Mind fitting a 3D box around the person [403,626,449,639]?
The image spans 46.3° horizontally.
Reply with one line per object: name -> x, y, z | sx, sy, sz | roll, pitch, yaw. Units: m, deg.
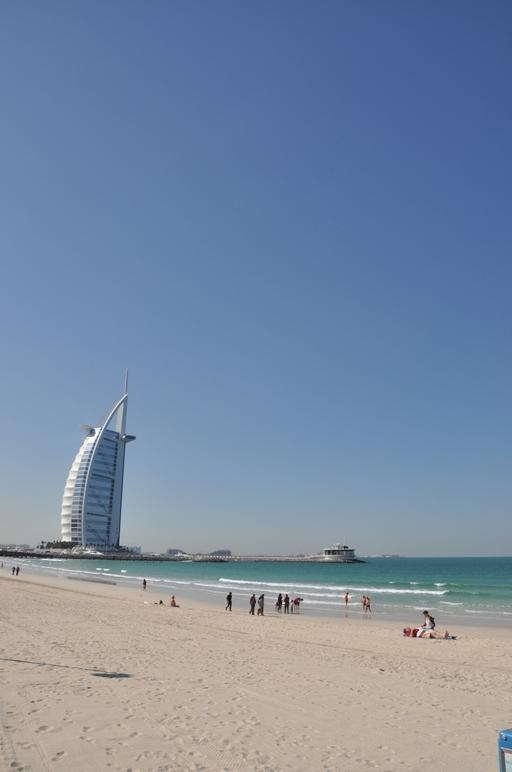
person -> 6.595, 9.710, 23.439 | 1.413, 0.413, 0.822 | 0, -10, 21
